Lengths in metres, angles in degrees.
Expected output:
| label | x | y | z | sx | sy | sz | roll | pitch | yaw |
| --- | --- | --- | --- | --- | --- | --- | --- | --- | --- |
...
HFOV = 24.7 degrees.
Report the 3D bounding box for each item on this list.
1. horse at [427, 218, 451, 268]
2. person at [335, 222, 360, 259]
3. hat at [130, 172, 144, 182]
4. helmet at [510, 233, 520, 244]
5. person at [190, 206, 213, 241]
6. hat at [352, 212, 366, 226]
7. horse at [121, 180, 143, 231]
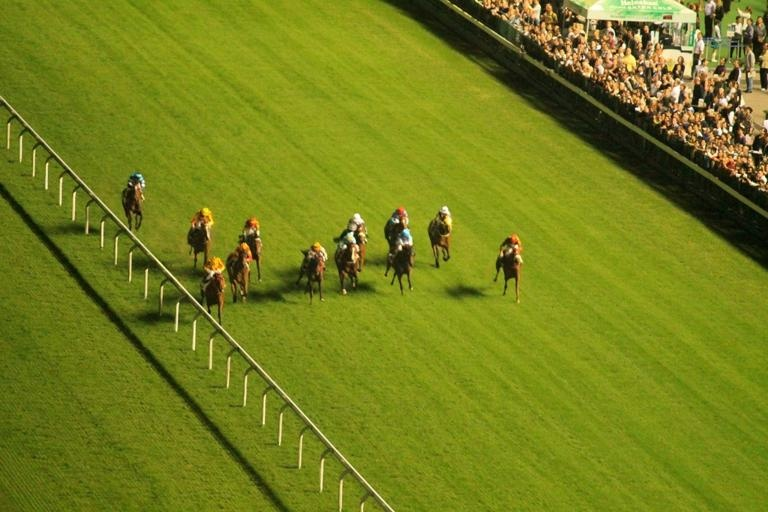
| label | x | y | z | sx | sy | sz | roll | pitch | yaw |
| --- | --- | --- | --- | --- | --- | --- | --- | --- | --- |
| horse | 1.415 | -0.433 | 43.664 | 0.476 | 1.327 | 1.903 | -1 | 12 | -9 |
| person | -0.828 | -0.319 | 41.895 | 0.289 | 0.711 | 0.700 | -16 | 76 | -7 |
| hat | -5.828 | -1.876 | 42.080 | 0.252 | 0.139 | 0.346 | 30 | -5 | -18 |
| helmet | 3.151 | -0.407 | 42.257 | 0.186 | 0.223 | 0.331 | 14 | 25 | 0 |
| person | -4.221 | -0.774 | 41.492 | 0.470 | 0.679 | 0.784 | 0 | 53 | -24 |
| hat | -0.632 | -0.851 | 41.995 | 0.267 | 0.118 | 0.307 | 11 | 43 | -22 |
| horse | -5.949 | -1.113 | 42.543 | 0.409 | 1.061 | 1.648 | 0 | -10 | -13 |
